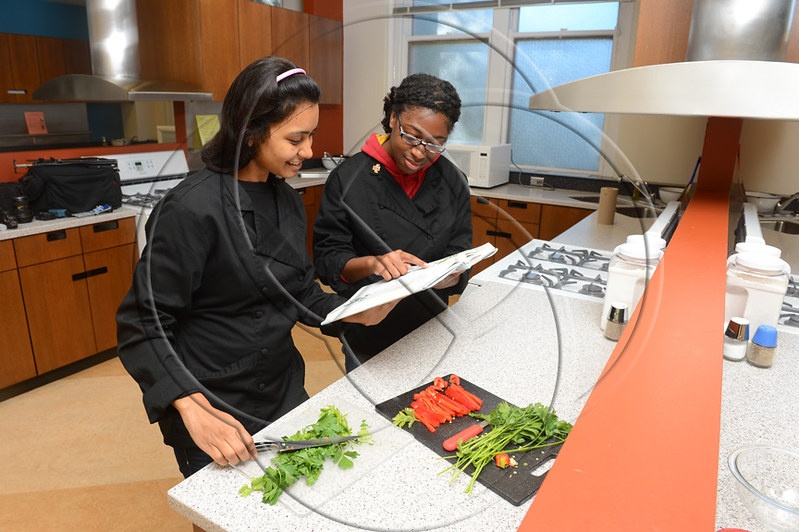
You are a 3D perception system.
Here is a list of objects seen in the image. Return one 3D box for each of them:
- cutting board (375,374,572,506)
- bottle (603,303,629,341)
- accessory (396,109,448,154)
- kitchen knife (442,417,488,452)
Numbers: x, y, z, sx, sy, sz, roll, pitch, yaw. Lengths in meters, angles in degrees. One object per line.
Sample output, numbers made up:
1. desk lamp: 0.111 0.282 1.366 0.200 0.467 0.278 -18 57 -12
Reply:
1. cutting board: 0.131 0.300 0.944 0.337 0.013 0.198 30 51 35
2. bottle: 0.581 0.150 1.295 0.053 0.093 0.055 0 20 0
3. accessory: 0.039 -0.225 0.804 0.067 0.023 0.070 19 28 -38
4. kitchen knife: 0.139 0.352 1.007 0.026 0.022 0.126 -4 16 47
